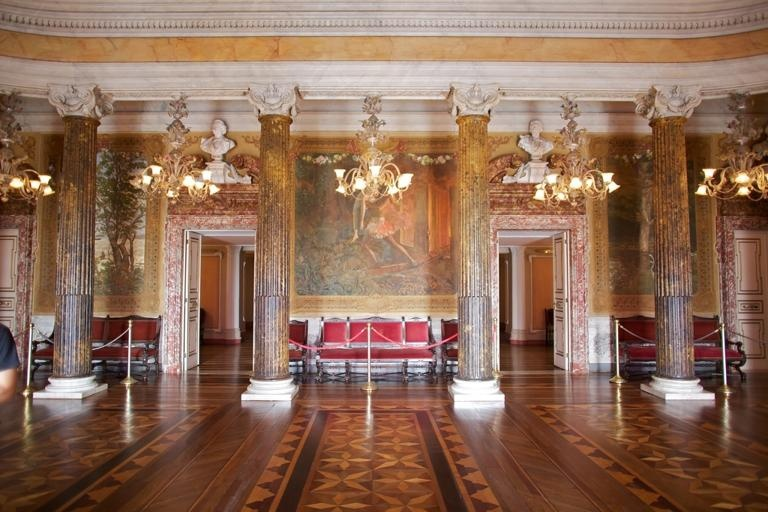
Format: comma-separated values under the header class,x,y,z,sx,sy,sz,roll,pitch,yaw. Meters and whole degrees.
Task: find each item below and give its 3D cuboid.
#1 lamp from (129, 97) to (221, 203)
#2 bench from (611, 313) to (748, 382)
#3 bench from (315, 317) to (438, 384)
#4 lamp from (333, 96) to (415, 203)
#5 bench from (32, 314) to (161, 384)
class,x,y,z,sx,sy,sz,roll,pitch,yaw
lamp,-4.473,-2.202,12.633,1.627,2.253,2.563,-3,11,-15
bench,6.512,2.026,13.216,2.697,1.226,1.169,1,11,6
bench,-0.147,2.055,13.198,2.658,1.164,1.246,0,11,-3
lamp,-0.218,-2.221,12.687,1.764,2.271,2.979,1,10,2
bench,-6.312,2.039,13.332,2.429,1.245,0.978,-2,11,-10
